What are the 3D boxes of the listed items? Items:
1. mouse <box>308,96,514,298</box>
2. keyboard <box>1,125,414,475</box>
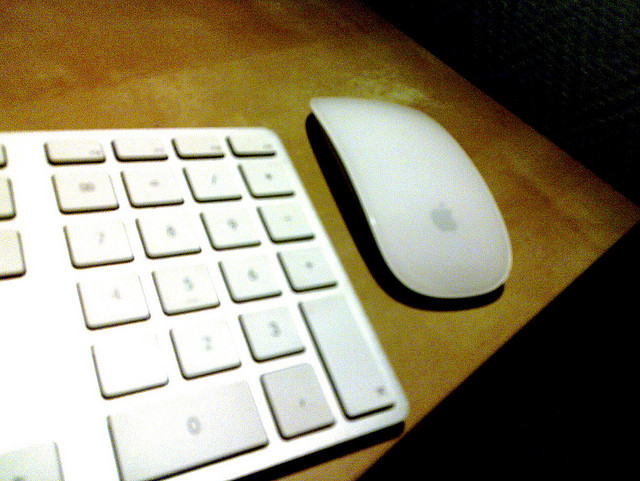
[{"bbox_3d":[0.061,-0.033,0.445,0.114,0.038,0.205,-7,58,-34],"label":"mouse"},{"bbox_3d":[-0.069,0.041,0.347,0.227,0.030,0.265,-4,57,-31],"label":"keyboard"}]
